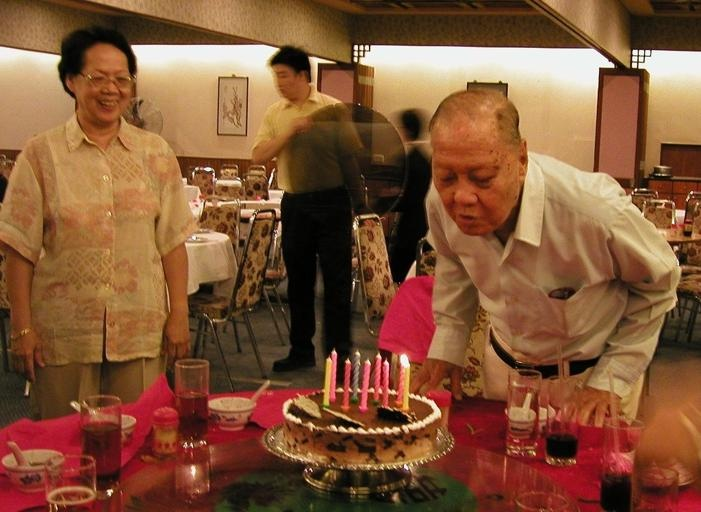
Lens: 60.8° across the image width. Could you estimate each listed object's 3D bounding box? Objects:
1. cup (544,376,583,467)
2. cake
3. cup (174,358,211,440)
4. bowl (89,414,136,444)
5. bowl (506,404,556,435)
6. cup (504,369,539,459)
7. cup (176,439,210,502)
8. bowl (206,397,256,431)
[{"bbox_3d":[0.502,0.390,1.418,0.073,0.206,0.064,2,7,19],"label":"cup"},{"bbox_3d":[0.039,0.364,1.283,0.354,0.083,0.235,-2,7,-18],"label":"cake"},{"bbox_3d":[-0.365,0.335,1.373,0.072,0.180,0.047,-2,7,-12],"label":"cup"},{"bbox_3d":[-0.562,0.413,1.446,0.061,0.050,0.063,2,-1,0],"label":"bowl"},{"bbox_3d":[0.437,0.398,1.459,0.090,0.034,0.096,0,-7,0],"label":"bowl"},{"bbox_3d":[0.423,0.386,1.466,0.076,0.207,0.051,2,7,13],"label":"cup"},{"bbox_3d":[-0.313,0.430,1.186,0.064,0.092,0.049,-3,7,-22],"label":"cup"},{"bbox_3d":[-0.322,0.429,1.602,0.138,0.064,0.140,2,-4,0],"label":"bowl"}]
